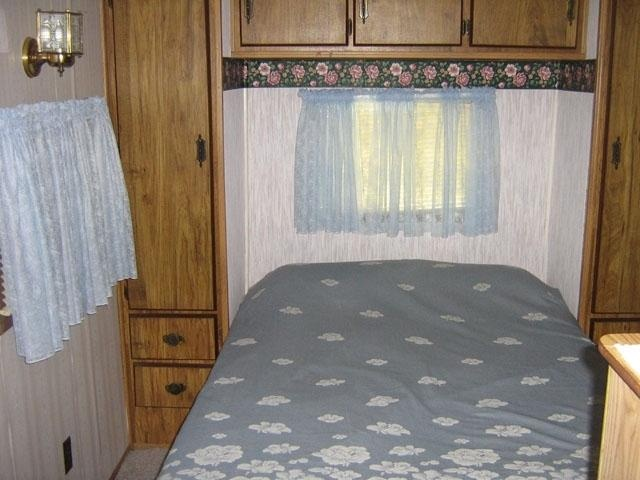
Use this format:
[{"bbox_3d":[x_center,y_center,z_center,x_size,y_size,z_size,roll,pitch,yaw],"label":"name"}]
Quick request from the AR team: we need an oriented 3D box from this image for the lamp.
[{"bbox_3d":[-1.057,-0.779,2.181,0.203,0.233,0.125,0,13,0],"label":"lamp"}]
